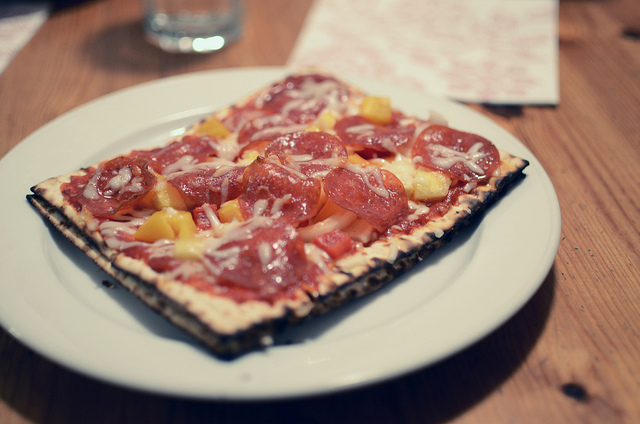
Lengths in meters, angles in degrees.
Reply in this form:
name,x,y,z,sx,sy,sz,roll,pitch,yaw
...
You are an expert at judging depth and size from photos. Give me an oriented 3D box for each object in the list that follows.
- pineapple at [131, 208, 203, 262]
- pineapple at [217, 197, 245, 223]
name,x,y,z,sx,sy,sz,roll,pitch,yaw
pineapple,-0.612,0.103,2.354,0.249,0.106,0.145,18,27,25
pineapple,-0.367,0.007,2.443,0.062,0.099,0.098,18,63,-25
